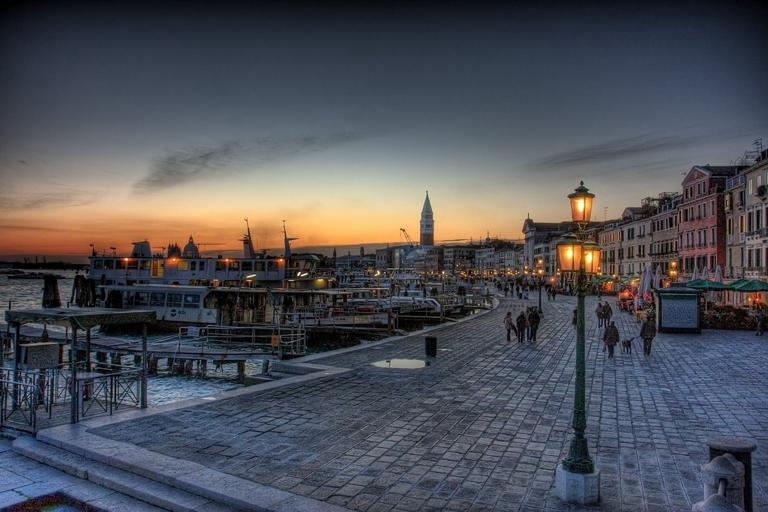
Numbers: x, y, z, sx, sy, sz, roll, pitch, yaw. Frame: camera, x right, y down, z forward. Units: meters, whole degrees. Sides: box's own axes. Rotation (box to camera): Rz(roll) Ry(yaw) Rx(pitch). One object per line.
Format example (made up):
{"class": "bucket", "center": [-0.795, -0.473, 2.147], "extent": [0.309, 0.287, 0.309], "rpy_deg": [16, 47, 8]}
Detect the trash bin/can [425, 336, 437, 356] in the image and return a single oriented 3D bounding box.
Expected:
{"class": "trash bin/can", "center": [2.254, 4.360, 29.342], "extent": [0.483, 0.826, 0.422], "rpy_deg": [0, 11, -2]}
